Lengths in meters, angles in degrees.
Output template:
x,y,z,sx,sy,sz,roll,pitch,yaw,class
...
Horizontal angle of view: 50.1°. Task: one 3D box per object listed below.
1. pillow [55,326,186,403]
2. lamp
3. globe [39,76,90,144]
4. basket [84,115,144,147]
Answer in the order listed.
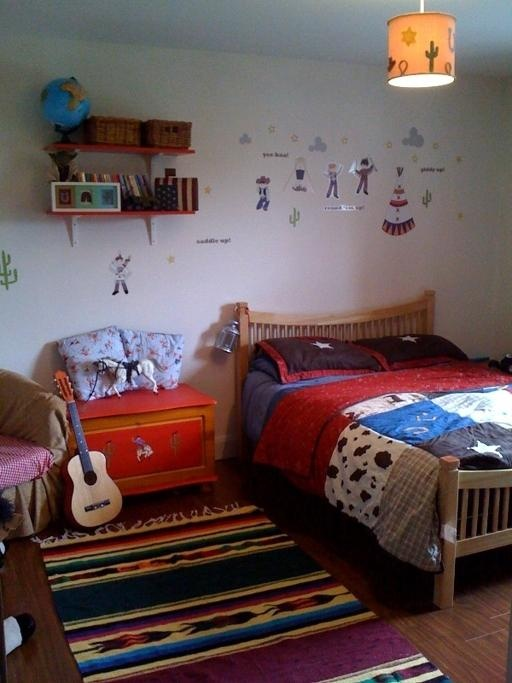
x,y,z,sx,sy,sz,roll,pitch,yaw,class
-0.810,0.107,3.159,0.729,0.398,0.193,-14,9,-31,pillow
0.622,-1.081,2.067,0.230,0.243,0.314,0,5,15,lamp
-1.000,-1.215,2.833,0.272,0.307,0.263,-19,52,-39,globe
-0.755,-1.109,2.911,0.287,0.162,0.164,-3,5,-20,basket
